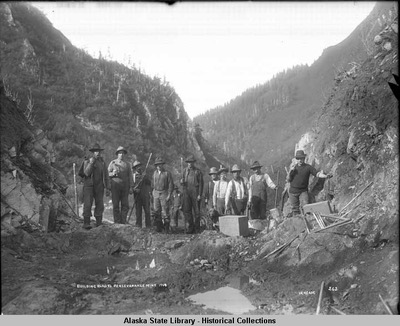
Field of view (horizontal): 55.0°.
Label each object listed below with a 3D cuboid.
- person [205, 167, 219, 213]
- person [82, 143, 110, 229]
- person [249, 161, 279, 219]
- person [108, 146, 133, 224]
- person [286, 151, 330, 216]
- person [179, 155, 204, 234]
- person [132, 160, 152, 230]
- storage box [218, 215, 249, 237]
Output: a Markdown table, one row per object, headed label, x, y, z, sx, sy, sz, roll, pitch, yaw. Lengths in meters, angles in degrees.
| label | x | y | z | sx | sy | sz | roll | pitch | yaw |
| --- | --- | --- | --- | --- | --- | --- | --- | --- | --- |
| person | 0.349 | 0.799 | 11.303 | 0.426 | 1.279 | 0.403 | -2 | -11 | 1 |
| person | -2.883 | 0.652 | 10.402 | 0.741 | 2.238 | 0.330 | 1 | -11 | -16 |
| person | 1.773 | 0.797 | 11.189 | 0.717 | 1.645 | 0.370 | -4 | -11 | 9 |
| person | -2.240 | 0.624 | 10.684 | 0.686 | 2.088 | 0.339 | 0 | -11 | -14 |
| person | 2.967 | 0.591 | 10.377 | 1.284 | 2.289 | 0.794 | -2 | -22 | 6 |
| person | -0.230 | 0.930 | 10.986 | 0.645 | 2.119 | 0.594 | -6 | -12 | 20 |
| person | -1.660 | 0.899 | 10.864 | 0.497 | 1.841 | 0.343 | 0 | -11 | -10 |
| storage box | 0.883 | 1.726 | 10.432 | 0.812 | 0.524 | 0.630 | 0 | -2 | 1 |
